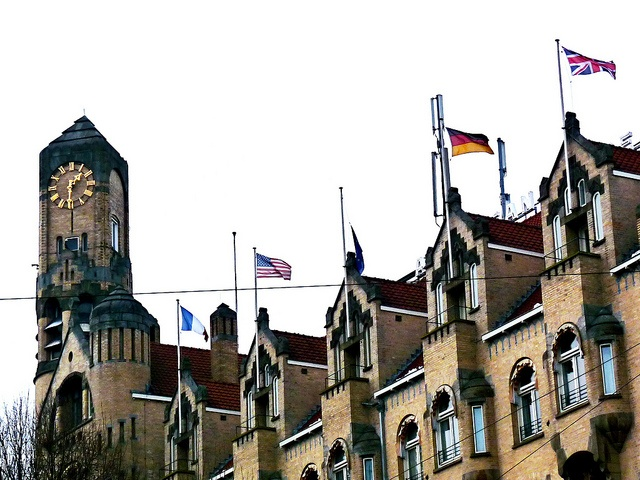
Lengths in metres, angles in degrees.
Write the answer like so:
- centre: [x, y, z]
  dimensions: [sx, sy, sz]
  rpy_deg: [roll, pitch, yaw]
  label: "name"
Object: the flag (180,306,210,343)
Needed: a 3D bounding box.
- centre: [-7.133, 4.759, 97.770]
  dimensions: [1.612, 0.192, 2.020]
  rpy_deg: [8, -55, 7]
  label: "flag"
